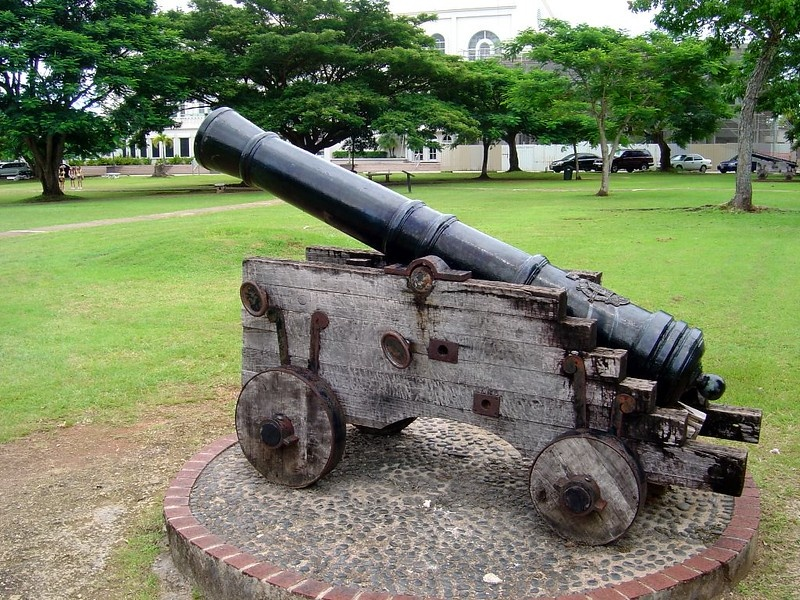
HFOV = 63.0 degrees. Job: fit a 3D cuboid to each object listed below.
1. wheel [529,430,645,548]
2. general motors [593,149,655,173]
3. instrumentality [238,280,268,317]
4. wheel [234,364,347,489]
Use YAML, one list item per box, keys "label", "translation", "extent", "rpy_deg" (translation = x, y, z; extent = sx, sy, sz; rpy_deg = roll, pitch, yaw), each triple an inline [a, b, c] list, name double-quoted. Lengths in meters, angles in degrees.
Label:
- label: "wheel"
  translation: [1.155, 1.136, 3.973]
  extent: [0.709, 0.693, 0.362]
  rpy_deg: [4, 6, 29]
- label: "general motors"
  translation: [18.002, -10.834, 52.628]
  extent: [5.567, 2.249, 2.498]
  rpy_deg: [3, 17, 9]
- label: "instrumentality"
  translation: [-1.056, -0.013, 4.783]
  extent: [0.237, 0.245, 0.049]
  rpy_deg: [34, 35, 21]
- label: "wheel"
  translation: [-0.798, 0.912, 4.718]
  extent: [0.842, 0.831, 0.427]
  rpy_deg: [6, 9, 28]
